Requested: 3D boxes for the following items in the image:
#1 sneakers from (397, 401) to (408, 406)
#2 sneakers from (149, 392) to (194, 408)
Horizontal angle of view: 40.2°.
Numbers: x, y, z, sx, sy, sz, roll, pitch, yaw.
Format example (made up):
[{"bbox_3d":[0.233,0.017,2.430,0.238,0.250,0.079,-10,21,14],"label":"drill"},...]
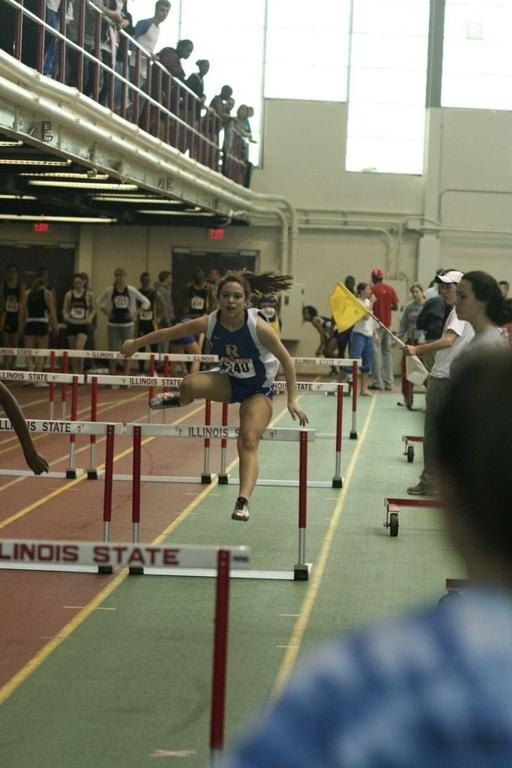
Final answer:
[{"bbox_3d":[3.213,0.420,15.363,0.102,0.111,0.296,0,-2,-8],"label":"sneakers"},{"bbox_3d":[-0.815,0.179,6.502,0.437,0.145,0.173,-5,7,42],"label":"sneakers"}]
